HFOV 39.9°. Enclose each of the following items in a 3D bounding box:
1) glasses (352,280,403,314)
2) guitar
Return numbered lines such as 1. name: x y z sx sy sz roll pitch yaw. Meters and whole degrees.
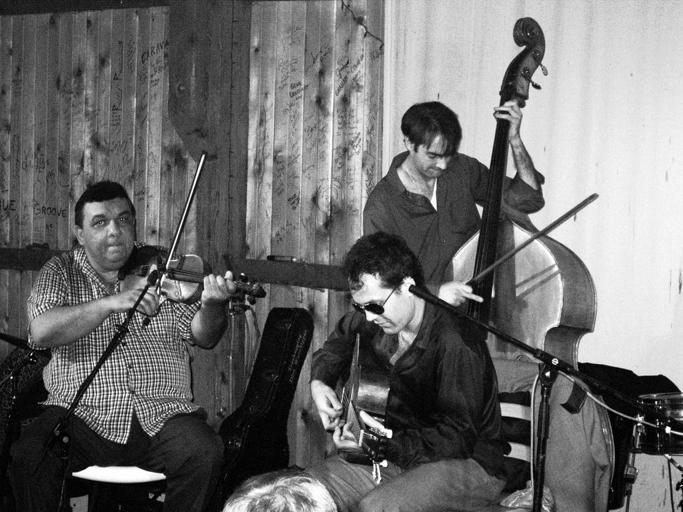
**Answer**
1. glasses: 0.163 0.175 4.330 0.152 0.048 0.143 -30 8 -33
2. guitar: 0.076 0.748 4.290 0.284 0.475 0.307 1 8 -5
